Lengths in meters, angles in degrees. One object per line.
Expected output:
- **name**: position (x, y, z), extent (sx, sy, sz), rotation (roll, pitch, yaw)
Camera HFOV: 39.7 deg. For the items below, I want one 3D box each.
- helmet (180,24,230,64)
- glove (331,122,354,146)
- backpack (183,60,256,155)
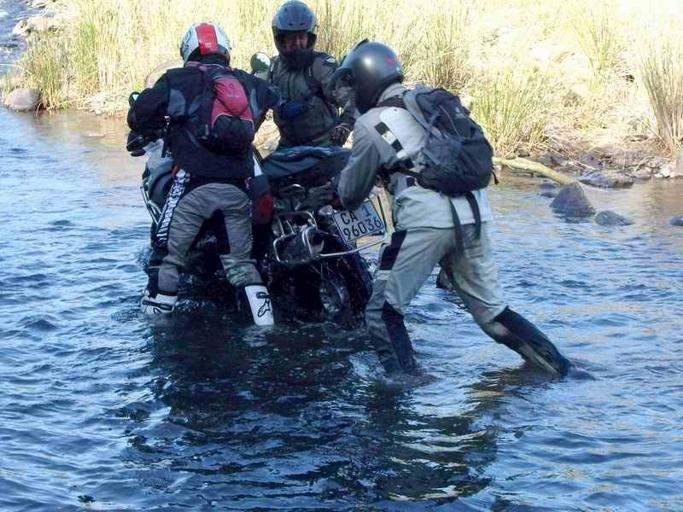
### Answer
- **helmet**: position (-1.152, -1.807, 8.133), extent (0.463, 0.356, 0.332), rotation (2, 68, -8)
- **glove**: position (0.076, -1.098, 8.433), extent (0.254, 0.202, 0.103), rotation (13, -22, 44)
- **backpack**: position (-0.967, -1.224, 7.914), extent (0.543, 0.713, 0.517), rotation (2, 32, -8)
